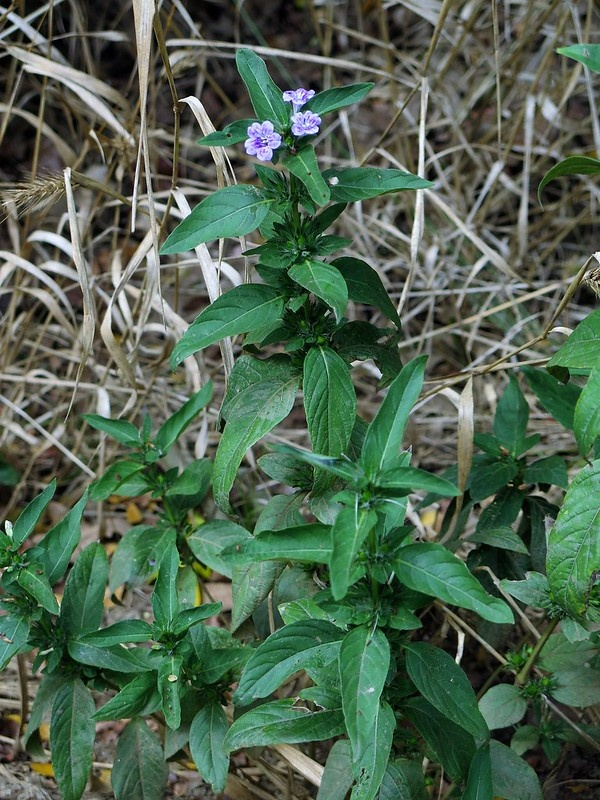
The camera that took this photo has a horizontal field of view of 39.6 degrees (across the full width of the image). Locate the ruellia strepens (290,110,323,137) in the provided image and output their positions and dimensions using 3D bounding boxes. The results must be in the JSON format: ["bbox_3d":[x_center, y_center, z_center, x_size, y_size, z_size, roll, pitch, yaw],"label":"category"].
[{"bbox_3d":[0.021,-0.605,1.814,0.063,0.029,0.058,17,73,2],"label":"ruellia strepens"}]
